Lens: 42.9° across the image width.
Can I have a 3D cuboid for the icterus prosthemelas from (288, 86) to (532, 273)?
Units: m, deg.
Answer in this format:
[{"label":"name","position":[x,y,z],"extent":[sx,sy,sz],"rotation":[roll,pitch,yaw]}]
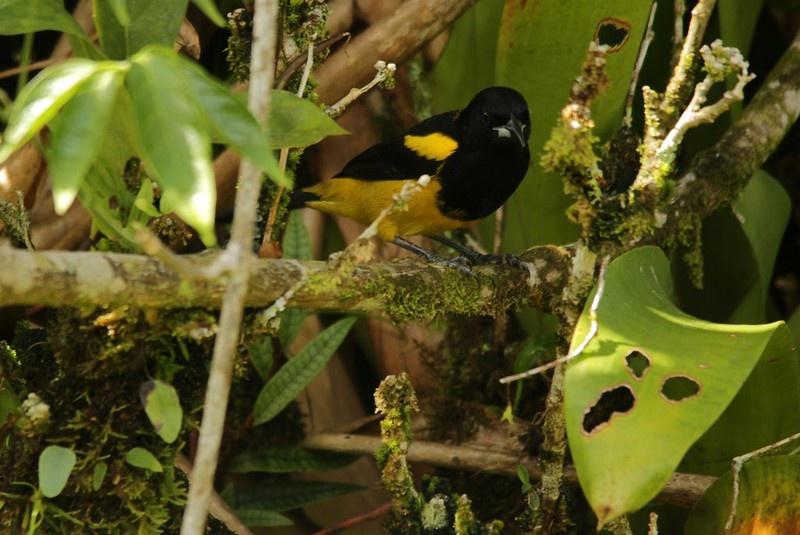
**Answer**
[{"label":"icterus prosthemelas","position":[-0.010,-0.280,3.115],"extent":[0.933,0.485,0.288],"rotation":[5,2,28]}]
